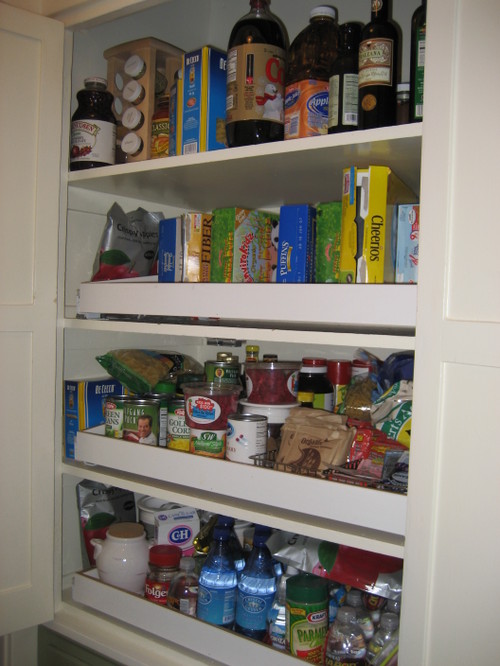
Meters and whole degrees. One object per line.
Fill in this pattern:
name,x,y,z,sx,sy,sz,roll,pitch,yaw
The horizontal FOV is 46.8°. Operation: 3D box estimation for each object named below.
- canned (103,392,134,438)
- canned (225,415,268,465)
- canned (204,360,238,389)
canned,-0.271,0.175,1.243,0.080,0.082,0.079,-4,5,-41
canned,-0.005,0.182,0.985,0.075,0.074,0.073,1,-3,0
canned,-0.058,0.084,1.198,0.052,0.051,0.053,4,7,23
